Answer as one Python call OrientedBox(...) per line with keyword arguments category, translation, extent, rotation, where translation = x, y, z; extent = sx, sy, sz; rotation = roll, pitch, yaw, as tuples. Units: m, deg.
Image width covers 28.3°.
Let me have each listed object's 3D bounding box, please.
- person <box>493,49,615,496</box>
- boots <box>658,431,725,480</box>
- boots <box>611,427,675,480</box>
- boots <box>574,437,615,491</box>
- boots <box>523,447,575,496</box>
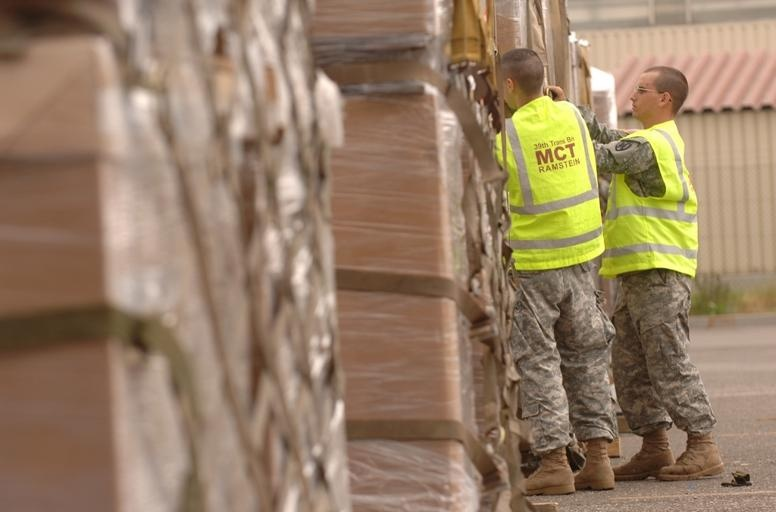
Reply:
OrientedBox(category="person", translation=(0.849, 0.078, 7.597), extent=(0.792, 2.076, 0.529), rotation=(5, 1, -6))
OrientedBox(category="boots", translation=(1.550, 1.029, 7.941), extent=(0.408, 0.262, 0.155), rotation=(-3, -4, -35))
OrientedBox(category="boots", translation=(1.329, 1.054, 8.125), extent=(0.347, 0.320, 0.142), rotation=(-4, -16, 15))
OrientedBox(category="boots", translation=(1.026, 1.063, 7.805), extent=(0.141, 0.285, 0.301), rotation=(2, -11, -30))
OrientedBox(category="boots", translation=(0.764, 1.060, 7.580), extent=(0.301, 0.287, 0.136), rotation=(-8, -11, 29))
